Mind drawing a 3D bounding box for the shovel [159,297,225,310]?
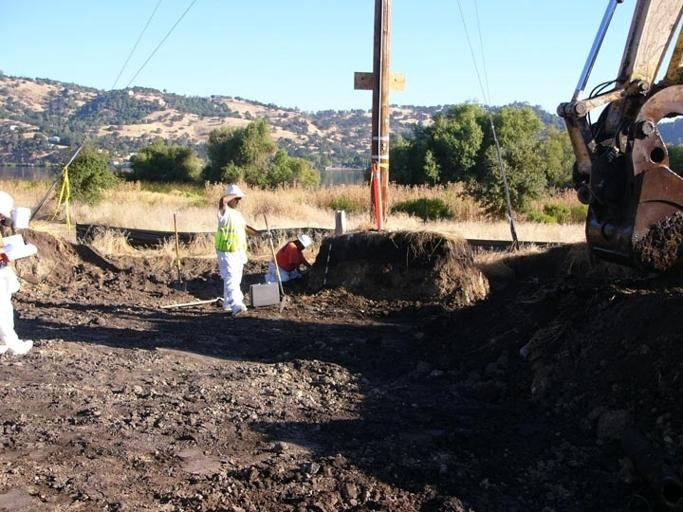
[{"bbox_3d":[-2.610,0.822,10.911,1.153,0.127,0.117,-5,-22,-44],"label":"shovel"}]

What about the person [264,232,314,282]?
[{"bbox_3d":[-0.950,0.039,11.954,0.769,1.000,0.617,8,4,-1],"label":"person"}]

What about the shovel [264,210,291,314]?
[{"bbox_3d":[-1.146,0.266,11.107,0.354,2.299,0.206,-22,31,-26],"label":"shovel"}]

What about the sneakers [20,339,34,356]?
[{"bbox_3d":[-3.832,1.114,7.661,0.142,0.096,0.576,-6,15,-27],"label":"sneakers"}]

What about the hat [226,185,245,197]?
[{"bbox_3d":[-1.685,-1.026,10.008,0.243,0.242,0.423,0,13,0],"label":"hat"}]

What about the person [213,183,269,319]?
[{"bbox_3d":[-1.746,-0.080,9.957,0.478,2.060,0.417,-3,12,-14],"label":"person"}]
